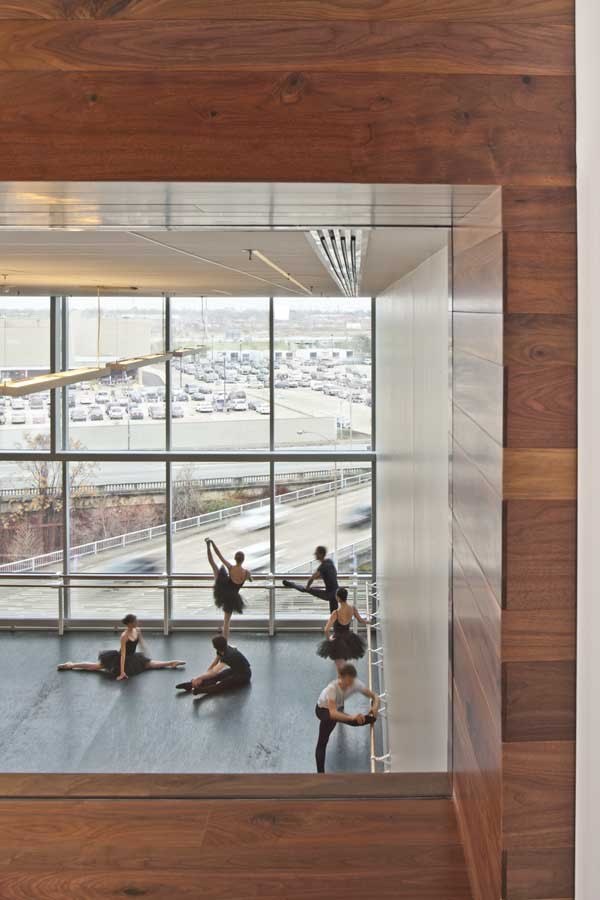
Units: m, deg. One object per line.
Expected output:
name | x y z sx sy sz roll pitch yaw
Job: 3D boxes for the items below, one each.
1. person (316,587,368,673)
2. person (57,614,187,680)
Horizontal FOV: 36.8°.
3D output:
person | 0.354 1.437 6.984 0.456 0.759 0.333 -7 15 -26
person | -1.331 1.438 6.764 0.723 0.355 0.465 0 1 1
